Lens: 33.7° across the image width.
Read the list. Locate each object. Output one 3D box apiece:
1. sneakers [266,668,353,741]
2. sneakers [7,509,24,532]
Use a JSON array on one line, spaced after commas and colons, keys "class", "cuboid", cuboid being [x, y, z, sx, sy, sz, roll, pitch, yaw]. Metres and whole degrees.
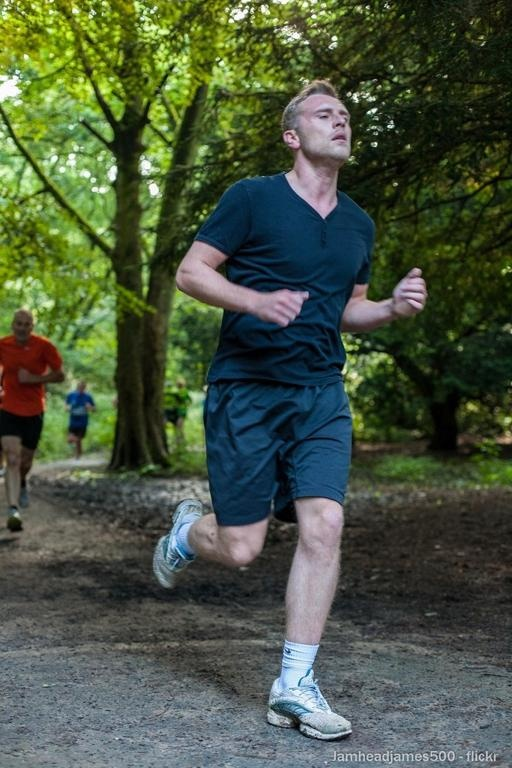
[{"class": "sneakers", "cuboid": [0.172, 1.061, 2.805, 0.362, 0.204, 0.125, 3, -5, 36]}, {"class": "sneakers", "cuboid": [-1.396, 0.803, 4.882, 0.063, 0.157, 0.074, -3, 34, -17]}]
